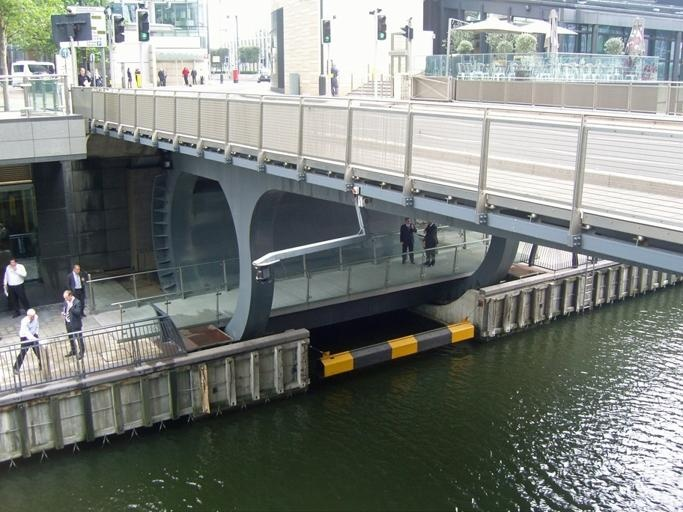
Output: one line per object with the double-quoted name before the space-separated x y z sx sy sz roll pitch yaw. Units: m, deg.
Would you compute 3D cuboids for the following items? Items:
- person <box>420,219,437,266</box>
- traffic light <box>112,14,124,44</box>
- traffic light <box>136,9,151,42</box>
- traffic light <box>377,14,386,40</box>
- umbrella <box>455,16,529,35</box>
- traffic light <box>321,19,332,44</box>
"person" 3.214 -0.524 22.602 0.516 1.515 1.728 0 13 9
"traffic light" -9.125 -9.352 25.602 0.394 1.175 1.423 -7 14 -20
"traffic light" -8.330 -9.762 26.251 0.457 1.304 1.349 -6 14 -16
"traffic light" 1.813 -10.364 28.180 0.308 1.012 0.439 1 14 14
"umbrella" 7.373 -11.233 30.189 2.528 0.818 2.517 3 14 21
"traffic light" -0.722 -11.390 31.459 0.344 1.060 0.429 -5 14 -9
